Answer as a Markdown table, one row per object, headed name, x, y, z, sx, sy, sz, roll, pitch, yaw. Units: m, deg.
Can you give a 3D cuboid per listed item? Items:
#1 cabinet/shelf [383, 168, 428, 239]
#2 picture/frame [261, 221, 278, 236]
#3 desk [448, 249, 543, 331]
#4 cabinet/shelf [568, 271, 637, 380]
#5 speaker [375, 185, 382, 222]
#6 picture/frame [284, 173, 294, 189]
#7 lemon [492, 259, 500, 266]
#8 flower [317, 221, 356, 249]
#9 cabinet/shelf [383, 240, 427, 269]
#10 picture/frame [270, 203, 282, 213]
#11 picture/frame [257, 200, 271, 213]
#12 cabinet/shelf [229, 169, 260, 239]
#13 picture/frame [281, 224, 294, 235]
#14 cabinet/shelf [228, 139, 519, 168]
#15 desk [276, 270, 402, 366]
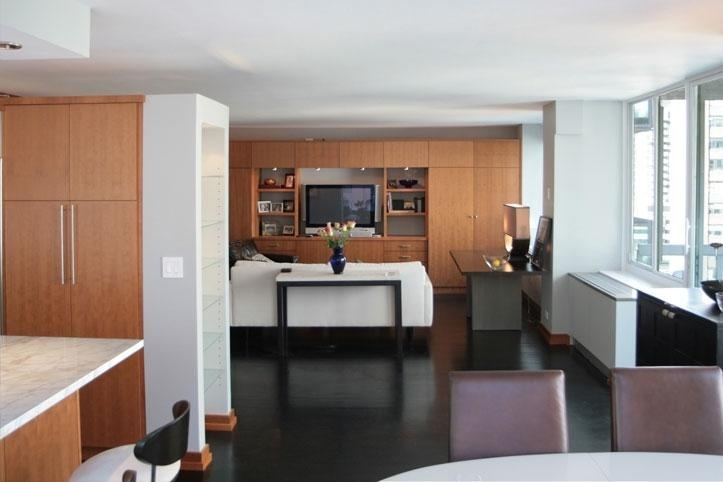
| name | x | y | z | sx | sy | sz | roll | pitch | yaw |
| --- | --- | --- | --- | --- | --- | --- | --- | --- | --- |
| cabinet/shelf | 0.762 | -0.680 | 9.542 | 0.752 | 1.147 | 0.553 | -1 | 11 | 2 |
| picture/frame | -1.583 | -0.231 | 9.764 | 0.326 | 0.279 | 0.228 | 1 | 6 | -5 |
| desk | 1.735 | 0.654 | 7.188 | 0.886 | 0.729 | 1.574 | -1 | 7 | 3 |
| cabinet/shelf | 2.509 | 0.874 | 5.679 | 0.254 | 0.589 | 1.073 | 1 | 4 | 5 |
| speaker | 0.329 | -0.654 | 9.679 | 0.098 | 0.656 | 0.199 | 1 | 11 | 10 |
| picture/frame | -1.239 | -1.065 | 9.690 | 0.181 | 0.251 | 0.332 | -2 | 11 | -7 |
| lemon | 1.741 | 0.268 | 7.061 | 0.077 | 0.033 | 0.091 | -2 | 14 | 19 |
| flower | -0.271 | -0.068 | 6.637 | 0.361 | 0.326 | 0.398 | 0 | 11 | 6 |
| cabinet/shelf | 0.774 | 0.147 | 9.350 | 0.771 | 0.646 | 0.416 | 0 | 1 | 3 |
| picture/frame | -1.481 | -0.587 | 9.749 | 0.192 | 0.147 | 0.064 | 0 | -3 | 0 |
| picture/frame | -1.695 | -0.600 | 9.680 | 0.257 | 0.235 | 0.087 | 0 | -1 | -23 |
| cabinet/shelf | -2.130 | -0.652 | 9.466 | 0.517 | 1.291 | 0.134 | -9 | 19 | -39 |
| picture/frame | -1.280 | -0.208 | 9.812 | 0.205 | 0.162 | 0.069 | 0 | -10 | 5 |
| cabinet/shelf | 0.255 | -1.456 | 9.207 | 4.730 | 0.481 | 0.308 | 0 | 11 | 2 |
| desk | -0.254 | 0.856 | 6.620 | 1.465 | 0.814 | 0.796 | 0 | -1 | -5 |
